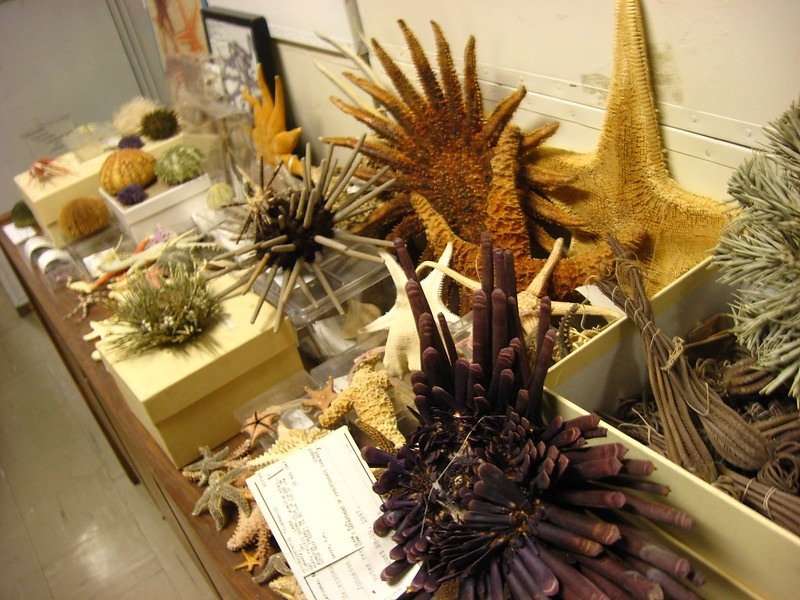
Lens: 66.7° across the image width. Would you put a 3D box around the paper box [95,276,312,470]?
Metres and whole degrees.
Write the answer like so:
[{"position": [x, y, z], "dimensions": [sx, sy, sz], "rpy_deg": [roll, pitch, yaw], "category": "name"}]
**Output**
[{"position": [-0.390, 0.130, 1.314], "dimensions": [0.413, 0.200, 0.430], "rpy_deg": [2, 40, 32], "category": "paper box"}]
